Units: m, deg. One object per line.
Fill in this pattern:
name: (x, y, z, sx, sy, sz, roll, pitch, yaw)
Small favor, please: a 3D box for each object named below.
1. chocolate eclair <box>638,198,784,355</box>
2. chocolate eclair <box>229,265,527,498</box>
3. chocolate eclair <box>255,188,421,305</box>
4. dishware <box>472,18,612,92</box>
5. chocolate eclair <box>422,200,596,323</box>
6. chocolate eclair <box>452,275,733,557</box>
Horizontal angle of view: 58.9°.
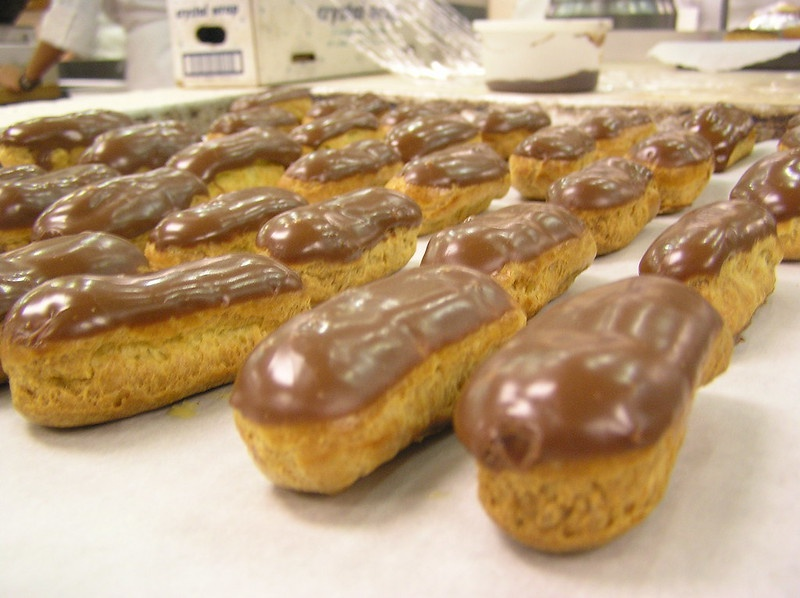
chocolate eclair: (0.468, -0.059, 1.076, 0.290, 0.152, 0.161, -27, 31, -38)
chocolate eclair: (-0.005, 0.079, 0.887, 0.369, 0.157, 0.180, -29, 29, -35)
chocolate eclair: (-0.098, -0.101, 1.215, 0.152, 0.122, 0.267, 18, 26, 37)
dishware: (0.418, -0.738, 2.163, 0.291, 0.132, 0.294, -12, 15, -35)
chocolate eclair: (0.185, -0.073, 1.115, 0.150, 0.113, 0.247, 16, 27, 42)
chocolate eclair: (0.236, 0.096, 0.823, 0.217, 0.181, 0.421, 20, 34, 36)
